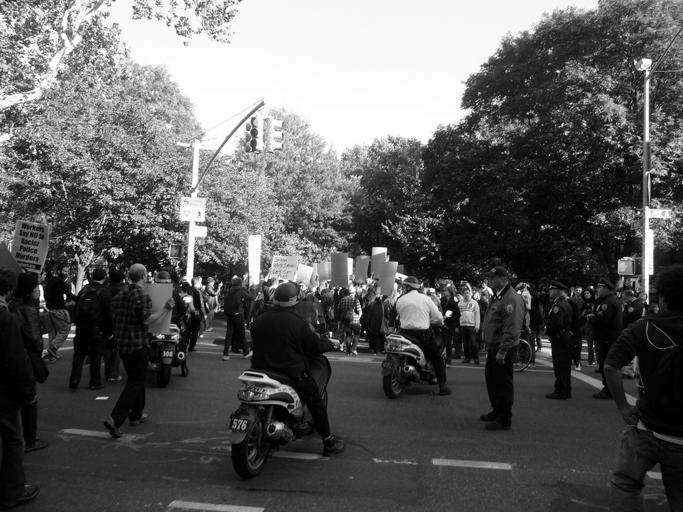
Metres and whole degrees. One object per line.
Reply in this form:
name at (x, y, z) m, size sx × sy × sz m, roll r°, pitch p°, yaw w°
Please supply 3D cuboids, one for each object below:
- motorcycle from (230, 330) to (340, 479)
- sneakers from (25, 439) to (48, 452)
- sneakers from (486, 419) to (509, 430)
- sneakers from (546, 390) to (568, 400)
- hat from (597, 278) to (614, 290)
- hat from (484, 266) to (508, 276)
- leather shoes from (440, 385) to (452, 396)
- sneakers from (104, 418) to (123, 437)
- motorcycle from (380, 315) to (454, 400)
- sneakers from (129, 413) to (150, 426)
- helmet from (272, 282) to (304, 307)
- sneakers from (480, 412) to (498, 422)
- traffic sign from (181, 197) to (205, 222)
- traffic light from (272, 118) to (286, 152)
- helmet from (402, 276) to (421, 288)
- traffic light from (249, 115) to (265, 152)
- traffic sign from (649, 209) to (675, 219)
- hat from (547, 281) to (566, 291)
motorcycle at (-0.691, 1.689, 8.075) m, size 0.922 × 1.582 × 2.510 m, roll 6°, pitch 2°, yaw 16°
sneakers at (-3.691, 2.272, 7.725) m, size 0.235 × 0.109 × 0.086 m, roll -2°, pitch 22°, yaw -17°
sneakers at (2.296, 2.474, 9.405) m, size 0.361 × 0.169 × 0.139 m, roll 2°, pitch 1°, yaw 1°
sneakers at (4.058, 2.574, 12.005) m, size 0.373 × 0.177 × 0.157 m, roll 2°, pitch 5°, yaw 22°
hat at (5.315, 0.618, 12.843) m, size 0.270 × 0.146 × 0.234 m, roll 25°, pitch 13°, yaw 21°
hat at (2.431, 0.245, 9.935) m, size 0.289 × 0.156 × 0.195 m, roll 0°, pitch -4°, yaw 4°
leather shoes at (1.957, 2.513, 12.099) m, size 0.111 × 0.212 × 0.295 m, roll 5°, pitch 13°, yaw 31°
sneakers at (-2.943, 2.208, 8.249) m, size 0.106 × 0.265 × 0.093 m, roll 5°, pitch 37°, yaw 42°
motorcycle at (1.172, 2.062, 12.255) m, size 0.723 × 1.149 × 1.824 m, roll 0°, pitch -3°, yaw 31°
sneakers at (-2.863, 2.312, 9.050) m, size 0.083 × 0.102 × 0.233 m, roll 12°, pitch 18°, yaw 27°
helmet at (-0.662, 0.468, 7.805) m, size 0.228 × 0.245 × 0.300 m, roll 3°, pitch 28°, yaw 15°
sneakers at (2.276, 2.481, 9.923) m, size 0.283 × 0.217 × 0.101 m, roll 3°, pitch -5°, yaw 14°
traffic sign at (-5.460, -1.743, 23.490) m, size 0.875 × 0.914 × 0.747 m, roll 4°, pitch -6°, yaw -19°
traffic light at (-1.695, -3.280, 17.015) m, size 0.259 × 0.733 × 1.002 m, roll 3°, pitch -6°, yaw -8°
helmet at (1.330, 0.497, 12.026) m, size 0.262 × 0.151 × 0.193 m, roll -4°, pitch 1°, yaw 30°
traffic light at (-2.286, -3.272, 17.035) m, size 0.413 × 1.095 × 0.399 m, roll 3°, pitch -5°, yaw -10°
traffic sign at (10.606, -1.432, 21.345) m, size 0.593 × 0.314 × 0.712 m, roll -4°, pitch -9°, yaw 43°
hat at (4.241, 0.598, 12.693) m, size 0.229 × 0.125 × 0.272 m, roll -7°, pitch 16°, yaw -41°
